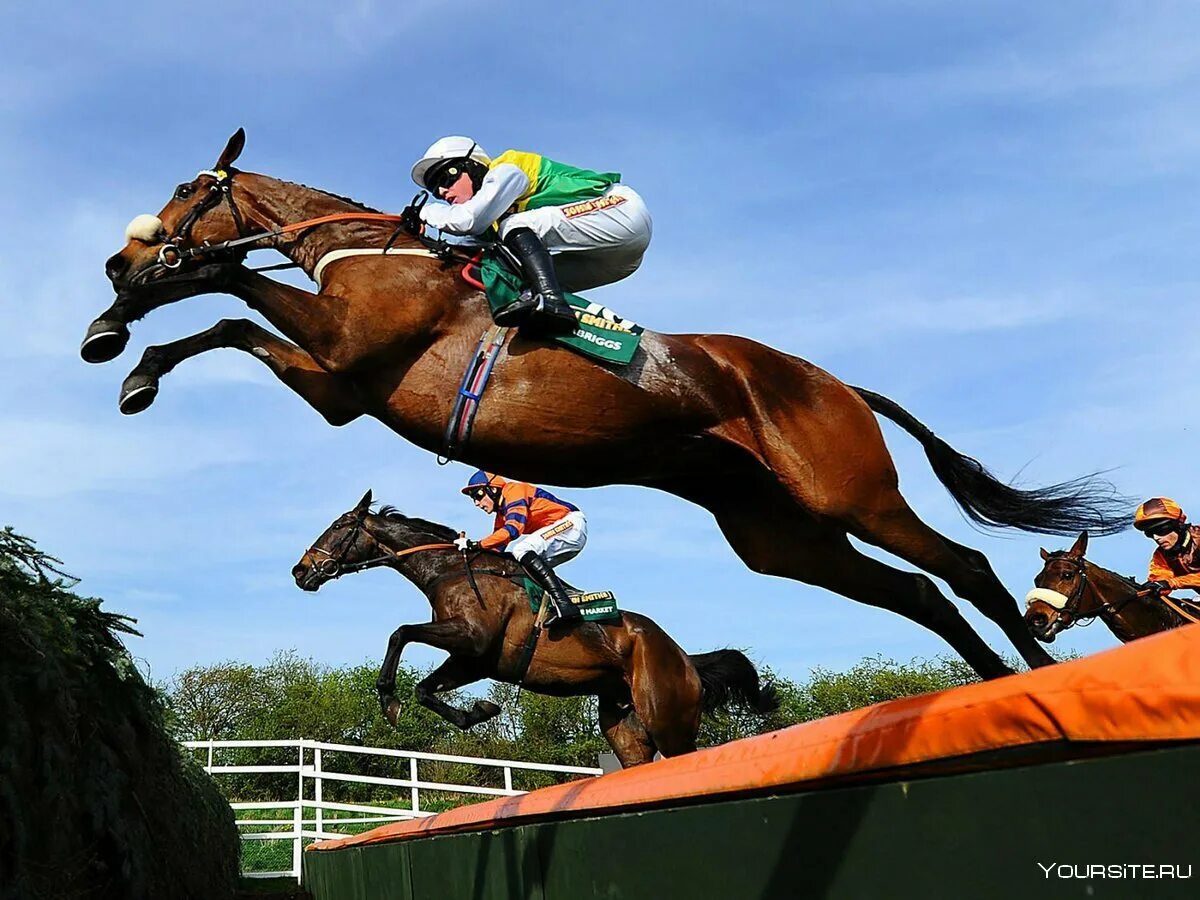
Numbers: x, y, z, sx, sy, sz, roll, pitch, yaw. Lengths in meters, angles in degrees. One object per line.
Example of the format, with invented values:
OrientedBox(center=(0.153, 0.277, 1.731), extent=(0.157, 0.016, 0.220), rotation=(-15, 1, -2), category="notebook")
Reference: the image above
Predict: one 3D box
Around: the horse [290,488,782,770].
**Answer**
OrientedBox(center=(-0.506, 1.346, 9.682), extent=(3.517, 1.409, 0.662), rotation=(20, -19, -29), category="horse")

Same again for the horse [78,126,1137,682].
OrientedBox(center=(-0.142, -0.133, 5.945), extent=(2.765, 2.070, 0.874), rotation=(-14, -4, 7), category="horse")

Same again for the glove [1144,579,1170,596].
OrientedBox(center=(3.538, 0.870, 9.670), extent=(0.127, 0.088, 0.245), rotation=(-12, -3, -17), category="glove")

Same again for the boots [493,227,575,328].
OrientedBox(center=(-0.275, -0.635, 5.651), extent=(0.264, 0.382, 0.334), rotation=(-18, -4, 12), category="boots")

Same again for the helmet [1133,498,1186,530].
OrientedBox(center=(3.520, 0.407, 9.691), extent=(0.263, 0.216, 0.358), rotation=(-15, -4, 11), category="helmet")
